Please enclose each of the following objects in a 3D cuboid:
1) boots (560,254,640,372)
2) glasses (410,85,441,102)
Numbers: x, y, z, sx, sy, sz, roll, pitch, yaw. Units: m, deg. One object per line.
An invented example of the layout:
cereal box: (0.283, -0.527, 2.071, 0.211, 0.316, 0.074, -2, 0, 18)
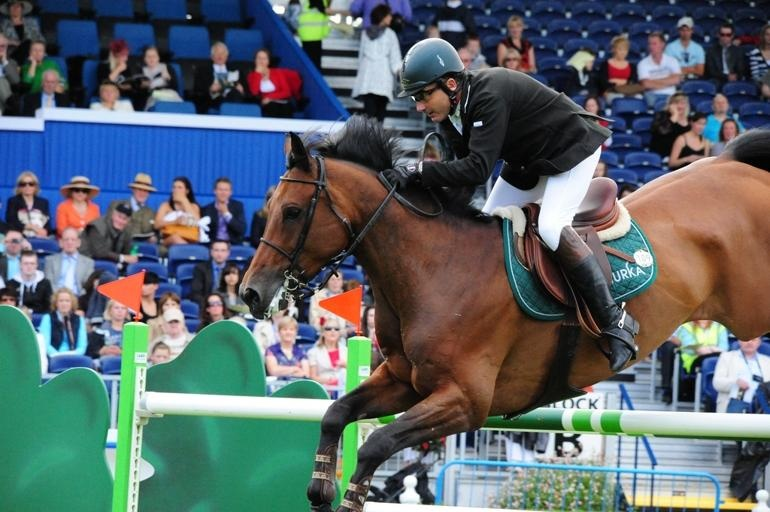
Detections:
boots: (2.009, 0.490, 14.553, 0.574, 1.128, 0.636, 0, -1, 3)
glasses: (0.368, -1.520, 14.472, 0.205, 0.066, 0.174, -33, -4, -22)
